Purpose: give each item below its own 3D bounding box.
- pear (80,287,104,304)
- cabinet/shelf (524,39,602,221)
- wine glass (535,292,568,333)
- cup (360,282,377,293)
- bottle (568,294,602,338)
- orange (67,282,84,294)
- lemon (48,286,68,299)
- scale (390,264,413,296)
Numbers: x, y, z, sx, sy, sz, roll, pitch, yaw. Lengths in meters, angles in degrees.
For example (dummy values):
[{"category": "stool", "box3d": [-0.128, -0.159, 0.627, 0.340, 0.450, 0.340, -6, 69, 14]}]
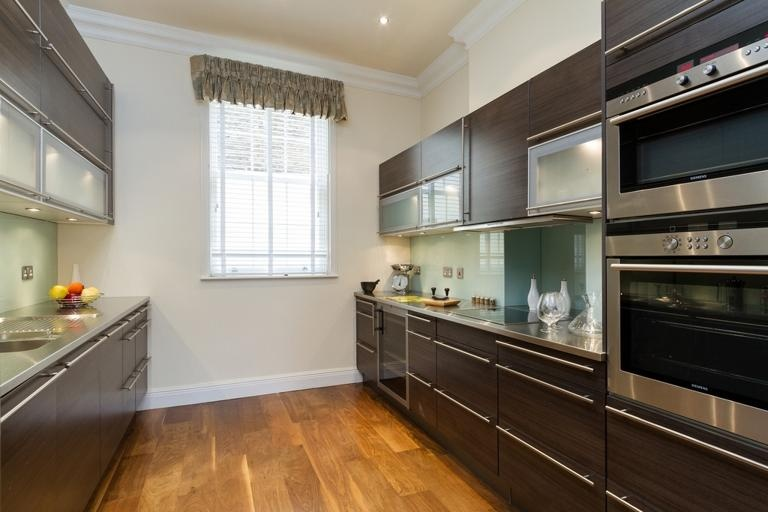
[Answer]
[{"category": "pear", "box3d": [-2.236, 0.309, 3.727, 0.132, 0.094, 0.133, 0, -7, -5]}, {"category": "cabinet/shelf", "box3d": [1.100, -0.756, 3.024, 0.209, 1.041, 0.658, -5, 14, -20]}, {"category": "wine glass", "box3d": [1.085, 0.360, 3.143, 0.217, 0.337, 0.239, -3, -4, 27]}, {"category": "cup", "box3d": [-0.158, 0.324, 5.000, 0.120, 0.078, 0.121, 0, -10, 0]}, {"category": "bottle", "box3d": [1.301, 0.368, 3.050, 0.239, 0.251, 0.251, 2, -4, -15]}, {"category": "orange", "box3d": [-2.326, 0.236, 3.684, 0.071, 0.074, 0.097, 22, 20, 36]}, {"category": "lemon", "box3d": [-2.450, 0.278, 3.662, 0.088, 0.076, 0.072, 3, -42, 23]}, {"category": "scale", "box3d": [0.183, 0.246, 5.088, 0.268, 0.335, 0.279, 5, -7, -31]}]
